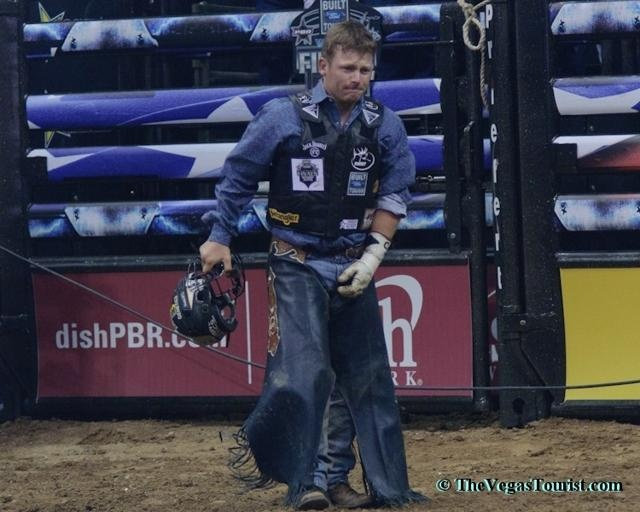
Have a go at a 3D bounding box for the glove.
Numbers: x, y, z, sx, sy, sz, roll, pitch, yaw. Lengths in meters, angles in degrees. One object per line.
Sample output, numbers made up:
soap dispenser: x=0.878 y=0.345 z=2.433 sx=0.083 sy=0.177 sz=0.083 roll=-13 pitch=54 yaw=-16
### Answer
glove: x=0.309 y=-0.063 z=12.870 sx=0.238 sy=0.147 sz=0.441 roll=21 pitch=-47 yaw=-20

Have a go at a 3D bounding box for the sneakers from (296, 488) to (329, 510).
sneakers: x=-0.048 y=1.573 z=12.586 sx=0.216 sy=0.097 sz=0.088 roll=6 pitch=-7 yaw=-23

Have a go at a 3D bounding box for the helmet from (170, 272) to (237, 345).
helmet: x=-0.770 y=0.351 z=12.877 sx=0.500 sy=0.443 sz=0.422 roll=1 pitch=3 yaw=-24
